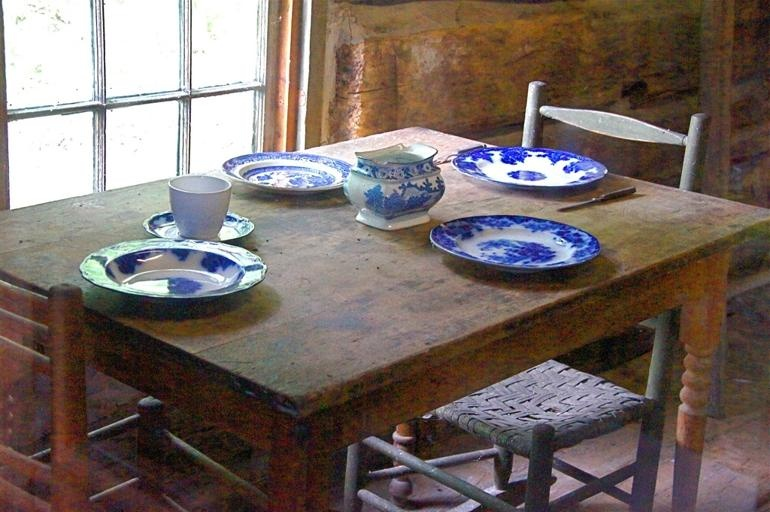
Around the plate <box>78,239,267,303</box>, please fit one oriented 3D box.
[{"bbox_3d":[-0.390,0.031,1.295,0.296,0.029,0.279,-15,29,-39],"label":"plate"}]

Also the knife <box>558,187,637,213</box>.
[{"bbox_3d":[0.542,-0.140,1.773,0.371,0.026,0.033,-8,26,-27],"label":"knife"}]

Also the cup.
[{"bbox_3d":[-0.376,-0.079,1.472,0.154,0.073,0.108,2,1,0],"label":"cup"}]

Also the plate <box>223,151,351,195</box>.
[{"bbox_3d":[-0.246,-0.222,1.816,0.232,0.020,0.196,12,21,24],"label":"plate"}]

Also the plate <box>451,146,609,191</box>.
[{"bbox_3d":[0.416,-0.248,1.939,0.292,0.027,0.233,11,21,21],"label":"plate"}]
